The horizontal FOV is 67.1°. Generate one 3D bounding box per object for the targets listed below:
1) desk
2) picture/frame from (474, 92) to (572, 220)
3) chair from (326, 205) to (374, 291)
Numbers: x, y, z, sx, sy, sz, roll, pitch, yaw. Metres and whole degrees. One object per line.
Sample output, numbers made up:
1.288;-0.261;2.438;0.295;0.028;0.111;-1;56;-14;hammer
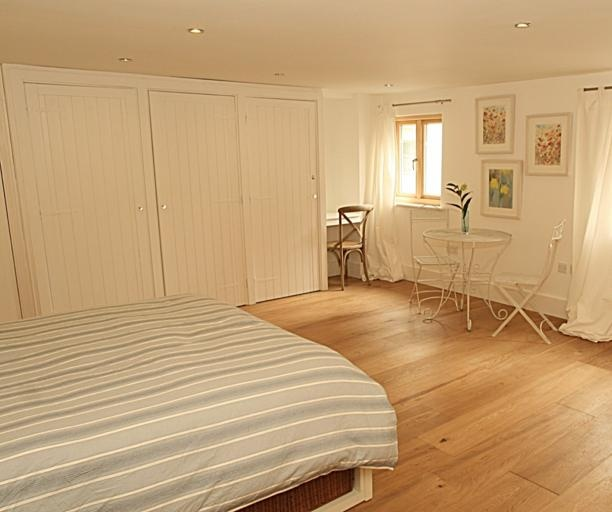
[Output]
1.742;0.200;5.002;1.007;0.802;0.863;3;-5;-6;desk
2.262;-1.066;4.948;0.250;1.326;1.101;-13;17;-26;picture/frame
0.626;-0.163;6.243;0.617;1.093;0.977;-3;15;7;chair
